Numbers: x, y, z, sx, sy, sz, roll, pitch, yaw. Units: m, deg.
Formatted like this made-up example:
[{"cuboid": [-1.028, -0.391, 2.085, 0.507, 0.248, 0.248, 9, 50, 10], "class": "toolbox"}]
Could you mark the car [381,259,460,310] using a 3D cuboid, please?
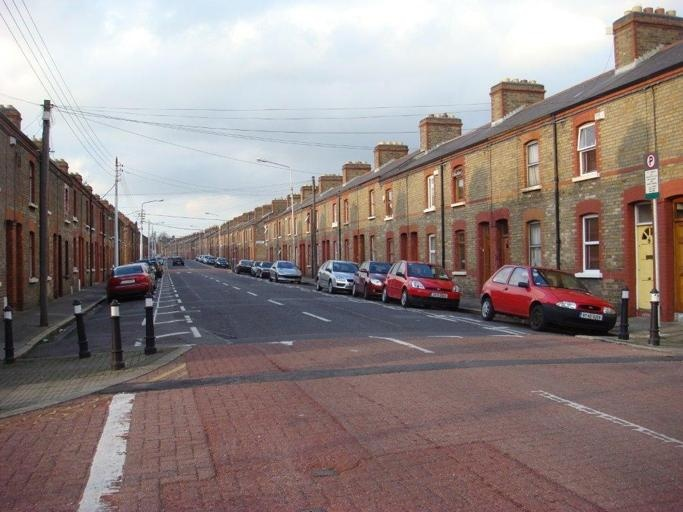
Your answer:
[{"cuboid": [2.788, 0.983, 21.860, 1.433, 1.220, 2.685, 2, -5, -17], "class": "car"}]

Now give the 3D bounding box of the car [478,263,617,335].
[{"cuboid": [5.307, 1.042, 15.671, 1.360, 1.530, 3.661, -2, 3, -21], "class": "car"}]

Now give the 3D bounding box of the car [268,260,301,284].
[{"cuboid": [-4.143, 1.041, 43.133, 1.236, 1.004, 2.344, 1, -7, -17], "class": "car"}]
